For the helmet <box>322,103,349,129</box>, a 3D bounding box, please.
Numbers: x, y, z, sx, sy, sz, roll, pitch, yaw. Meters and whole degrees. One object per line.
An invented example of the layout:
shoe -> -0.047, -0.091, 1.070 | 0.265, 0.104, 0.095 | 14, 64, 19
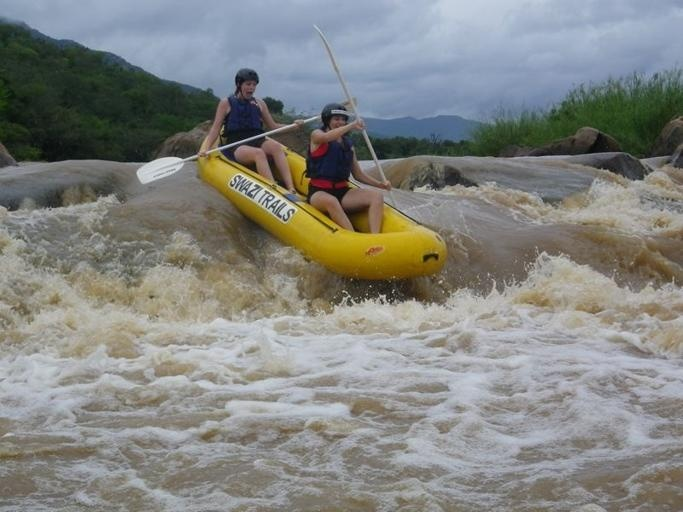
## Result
helmet -> -0.072, -1.579, 9.504 | 0.326, 0.261, 0.346 | -9, 7, 0

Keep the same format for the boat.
boat -> -0.581, -0.556, 10.153 | 3.803, 0.625, 1.172 | 28, 30, 35
